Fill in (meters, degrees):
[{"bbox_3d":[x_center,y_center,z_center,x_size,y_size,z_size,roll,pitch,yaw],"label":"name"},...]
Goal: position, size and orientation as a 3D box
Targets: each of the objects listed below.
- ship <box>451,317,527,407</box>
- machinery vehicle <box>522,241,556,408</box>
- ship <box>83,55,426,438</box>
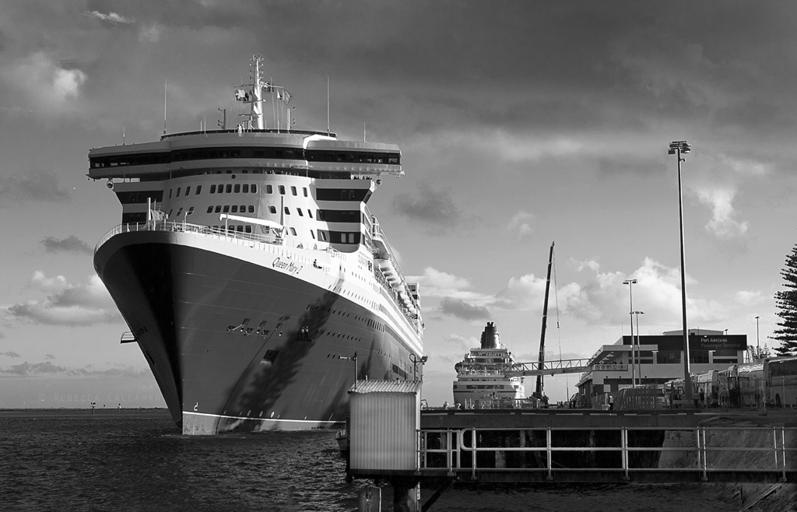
[{"bbox_3d":[10.982,13.187,133.084,7.728,10.269,24.424,2,-5,4],"label":"ship"},{"bbox_3d":[17.976,8.651,129.916,4.391,21.698,4.000,7,8,0],"label":"machinery vehicle"},{"bbox_3d":[-9.877,-1.557,78.043,14.467,28.453,24.393,-1,-6,31],"label":"ship"}]
